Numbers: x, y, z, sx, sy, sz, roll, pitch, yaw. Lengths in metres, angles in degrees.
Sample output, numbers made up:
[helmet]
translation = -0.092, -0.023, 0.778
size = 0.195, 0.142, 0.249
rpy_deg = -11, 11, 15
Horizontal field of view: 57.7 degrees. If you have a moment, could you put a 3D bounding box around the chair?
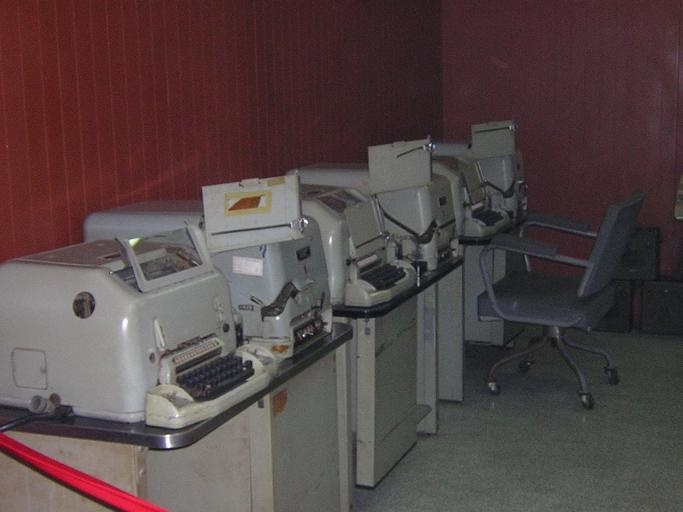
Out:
[chair]
translation = 1.340, 0.234, 3.910
size = 0.970, 1.224, 0.982
rpy_deg = -7, 12, -23
